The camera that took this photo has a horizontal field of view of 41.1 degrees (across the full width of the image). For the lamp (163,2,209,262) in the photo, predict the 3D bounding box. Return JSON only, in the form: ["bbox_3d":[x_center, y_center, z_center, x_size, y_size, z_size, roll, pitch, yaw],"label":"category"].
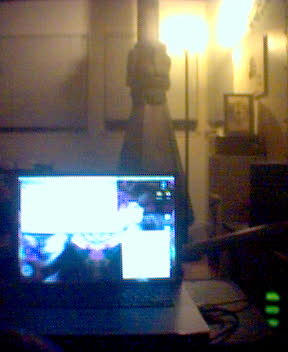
[{"bbox_3d":[0.220,-0.252,1.993,0.246,1.356,0.474,-1,7,9],"label":"lamp"}]
